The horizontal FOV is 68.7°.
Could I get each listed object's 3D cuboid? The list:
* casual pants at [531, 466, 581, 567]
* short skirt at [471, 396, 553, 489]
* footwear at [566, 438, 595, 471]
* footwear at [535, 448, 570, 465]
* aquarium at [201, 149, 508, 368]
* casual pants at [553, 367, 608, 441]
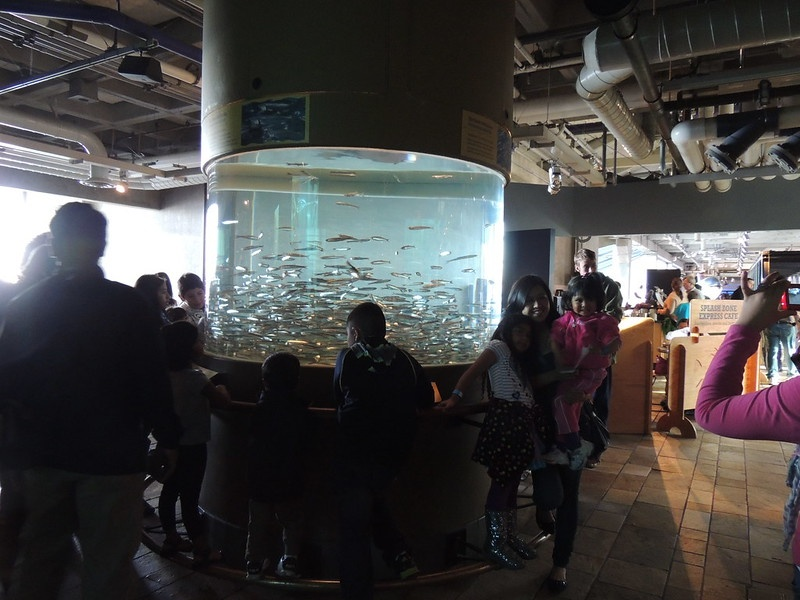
[{"bbox_3d":[1.035,1.469,3.865,0.339,0.757,0.229,2,9,0],"label":"casual pants"},{"bbox_3d":[0.729,0.836,3.997,0.493,0.638,0.690,0,0,-14],"label":"short skirt"},{"bbox_3d":[1.203,1.030,3.889,0.098,0.186,0.280,1,8,29],"label":"footwear"},{"bbox_3d":[1.006,1.025,3.835,0.108,0.056,0.171,-9,-13,42],"label":"footwear"},{"bbox_3d":[-0.331,-0.284,4.182,2.109,1.400,0.534,2,9,-3],"label":"aquarium"},{"bbox_3d":[1.190,0.693,3.893,0.325,0.460,0.200,3,9,4],"label":"casual pants"}]
